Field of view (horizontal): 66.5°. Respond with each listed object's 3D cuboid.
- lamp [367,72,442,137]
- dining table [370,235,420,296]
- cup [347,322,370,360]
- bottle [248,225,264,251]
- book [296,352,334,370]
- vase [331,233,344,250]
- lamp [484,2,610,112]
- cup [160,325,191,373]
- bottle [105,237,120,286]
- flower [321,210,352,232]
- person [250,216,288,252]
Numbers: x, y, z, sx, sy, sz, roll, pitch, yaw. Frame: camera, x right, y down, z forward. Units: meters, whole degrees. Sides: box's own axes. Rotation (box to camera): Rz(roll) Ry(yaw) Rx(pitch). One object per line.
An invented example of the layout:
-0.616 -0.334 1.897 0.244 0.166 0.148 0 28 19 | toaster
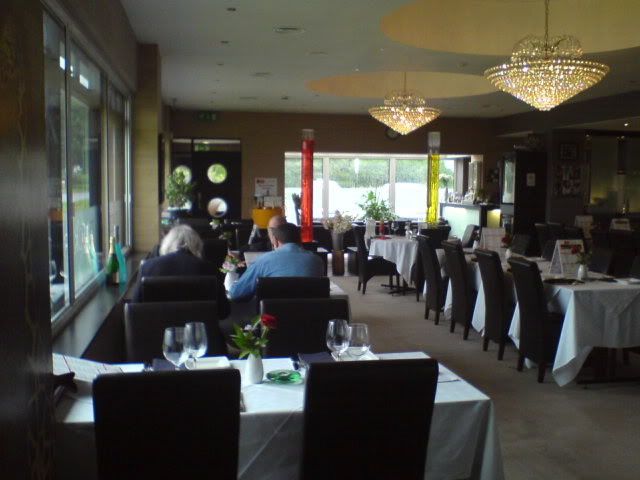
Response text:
1.357 -2.107 7.867 1.030 0.663 0.496 1 5 7 | lamp
1.169 0.392 7.591 0.685 0.564 0.677 -4 6 -41 | dining table
0.171 0.446 2.206 0.117 0.216 0.125 -1 0 0 | cup
-0.800 -0.034 6.110 0.100 0.324 0.303 -1 4 -6 | bottle
-0.028 0.546 2.282 0.161 0.069 0.170 0 2 -16 | book
0.339 0.017 9.121 0.204 0.362 0.334 0 5 -2 | vase
2.291 -2.077 5.167 0.995 1.324 1.049 -1 5 -18 | lamp
-0.576 0.445 1.982 0.092 0.215 0.182 -1 5 -16 | cup
-1.696 0.169 4.013 0.101 0.410 0.260 -2 5 -23 | bottle
0.343 -0.419 9.056 0.436 0.444 0.435 -4 -7 30 | flower
-0.538 -0.071 5.093 0.394 0.454 0.773 -1 -2 -2 | person
